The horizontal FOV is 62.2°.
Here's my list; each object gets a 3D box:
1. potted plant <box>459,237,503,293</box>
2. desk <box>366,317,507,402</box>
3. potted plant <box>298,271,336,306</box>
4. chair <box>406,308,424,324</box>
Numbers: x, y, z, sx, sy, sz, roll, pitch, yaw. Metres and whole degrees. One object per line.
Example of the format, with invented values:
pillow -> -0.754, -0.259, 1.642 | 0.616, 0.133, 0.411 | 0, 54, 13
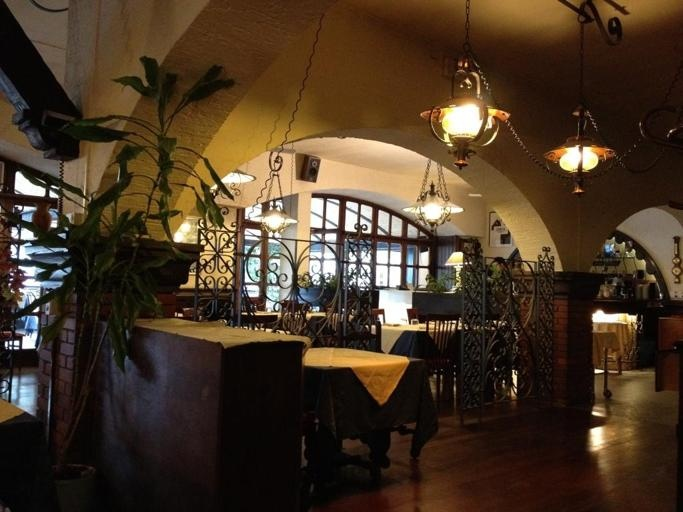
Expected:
potted plant -> 1.621, 0.114, 6.501 | 0.479, 0.504, 1.267 | 2, 0, 14
desk -> 1.240, 1.108, 6.608 | 1.284, 0.707, 0.995 | 6, -2, -43
potted plant -> -0.287, 0.428, 7.350 | 0.539, 0.432, 0.504 | -1, -4, 14
chair -> 1.115, 0.920, 8.684 | 0.203, 0.329, 0.189 | -2, -3, 42
